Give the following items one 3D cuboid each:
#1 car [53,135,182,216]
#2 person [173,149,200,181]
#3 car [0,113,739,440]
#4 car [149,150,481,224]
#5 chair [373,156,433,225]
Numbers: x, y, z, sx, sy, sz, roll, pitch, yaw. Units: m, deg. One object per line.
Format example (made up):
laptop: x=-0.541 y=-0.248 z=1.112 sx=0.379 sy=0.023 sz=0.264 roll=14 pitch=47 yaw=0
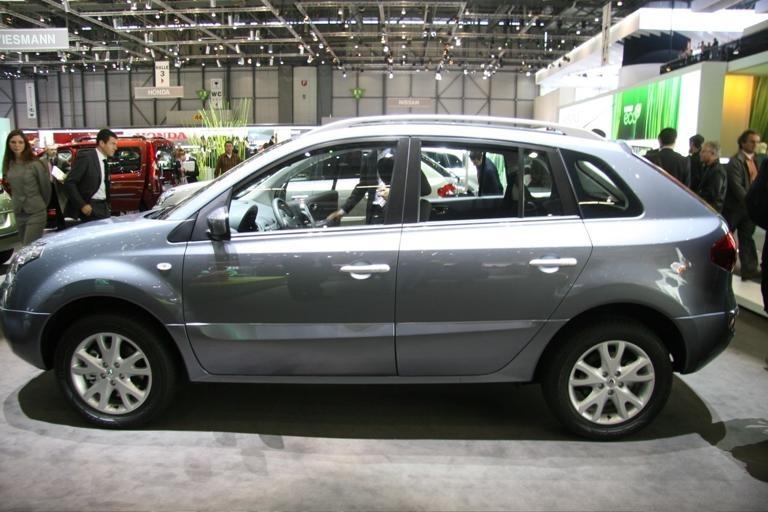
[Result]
car: x=-5.582 y=-1.905 z=11.729 sx=3.101 sy=1.641 sz=2.046 roll=1 pitch=7 yaw=-2
person: x=-5.182 y=-2.360 z=13.164 sx=0.745 sy=0.951 sz=1.029 roll=-3 pitch=16 yaw=-24
car: x=-0.260 y=0.130 z=4.496 sx=5.316 sy=1.968 sz=2.377 roll=2 pitch=2 yaw=1
car: x=-0.551 y=-0.563 z=3.971 sx=2.056 sy=0.642 sz=0.889 roll=2 pitch=8 yaw=4
chair: x=0.063 y=-0.501 z=3.759 sx=0.381 sy=0.496 sz=0.203 roll=6 pitch=-2 yaw=-6
